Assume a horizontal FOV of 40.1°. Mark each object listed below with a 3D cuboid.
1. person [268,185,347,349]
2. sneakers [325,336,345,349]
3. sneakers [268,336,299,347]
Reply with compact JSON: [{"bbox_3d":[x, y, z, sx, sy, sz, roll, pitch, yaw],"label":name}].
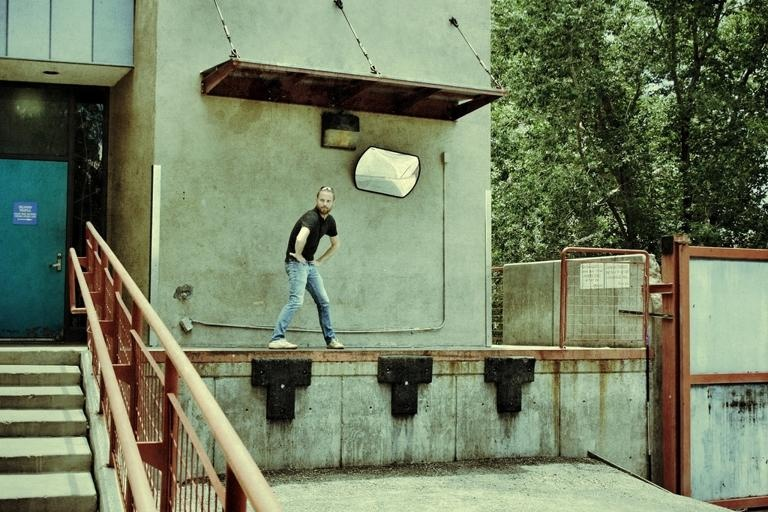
[{"bbox_3d":[-1.316,0.211,18.428,1.230,2.787,0.689,1,-3,-12],"label":"person"},{"bbox_3d":[-0.849,1.544,18.475,0.148,0.195,0.405,4,-9,-39],"label":"sneakers"},{"bbox_3d":[-1.733,1.484,18.243,0.529,0.261,0.211,2,-4,-7],"label":"sneakers"}]
